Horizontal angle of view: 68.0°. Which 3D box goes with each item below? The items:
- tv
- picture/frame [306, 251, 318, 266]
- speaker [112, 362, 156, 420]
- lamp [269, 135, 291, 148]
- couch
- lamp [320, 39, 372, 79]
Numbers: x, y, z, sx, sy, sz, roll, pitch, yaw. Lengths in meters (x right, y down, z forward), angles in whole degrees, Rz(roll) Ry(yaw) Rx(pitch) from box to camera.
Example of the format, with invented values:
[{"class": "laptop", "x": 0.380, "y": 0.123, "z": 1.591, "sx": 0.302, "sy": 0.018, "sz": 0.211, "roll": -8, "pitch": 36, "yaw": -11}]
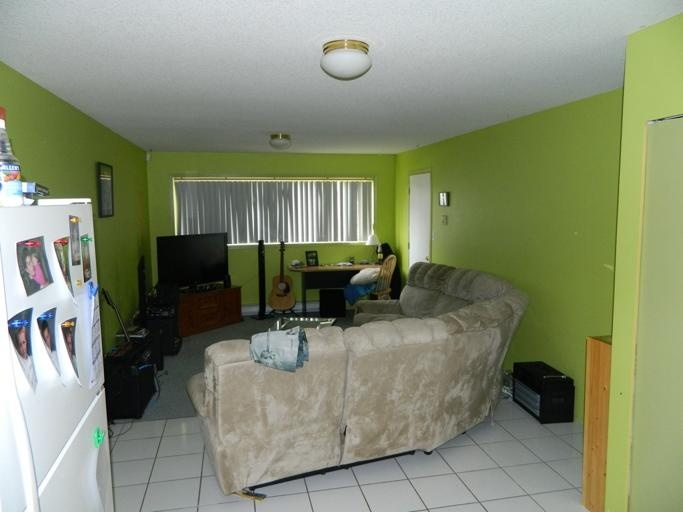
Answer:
[{"class": "tv", "x": -2.053, "y": 0.105, "z": 6.894, "sx": 0.772, "sy": 0.603, "sz": 0.106, "roll": -3, "pitch": 4, "yaw": -39}, {"class": "picture/frame", "x": -0.464, "y": 0.047, "z": 7.892, "sx": 0.207, "sy": 0.257, "sz": 0.034, "roll": 0, "pitch": -9, "yaw": -12}, {"class": "speaker", "x": -1.827, "y": 1.184, "z": 4.505, "sx": 0.348, "sy": 0.458, "sz": 0.628, "roll": 0, "pitch": -2, "yaw": 1}, {"class": "lamp", "x": -0.702, "y": -1.324, "z": 5.813, "sx": 0.222, "sy": 0.156, "sz": 0.319, "roll": -2, "pitch": 11, "yaw": -10}, {"class": "couch", "x": 0.112, "y": 0.878, "z": 3.885, "sx": 2.117, "sy": 0.986, "sz": 1.592, "roll": -2, "pitch": 7, "yaw": -17}, {"class": "lamp", "x": 0.028, "y": -1.183, "z": 3.043, "sx": 0.299, "sy": 0.192, "sz": 0.197, "roll": 0, "pitch": 11, "yaw": -1}]
